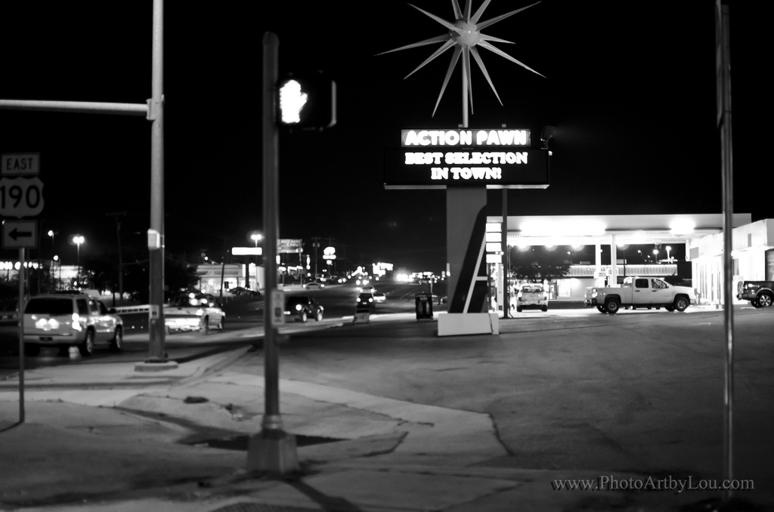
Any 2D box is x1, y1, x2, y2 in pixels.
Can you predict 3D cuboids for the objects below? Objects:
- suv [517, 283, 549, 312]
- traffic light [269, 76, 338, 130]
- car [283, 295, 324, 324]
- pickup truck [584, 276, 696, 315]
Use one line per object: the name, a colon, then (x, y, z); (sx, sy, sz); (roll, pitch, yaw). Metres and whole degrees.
suv: (10.122, 2.910, 54.803); (1.468, 1.273, 2.586); (0, 1, 7)
traffic light: (-1.360, -2.568, 13.136); (0.982, 0.889, 0.241); (0, 3, 17)
car: (-5.217, 3.289, 48.624); (1.538, 1.680, 3.804); (-1, 2, 9)
pickup truck: (14.842, 2.227, 45.118); (5.169, 1.903, 2.367); (-2, 1, -1)
